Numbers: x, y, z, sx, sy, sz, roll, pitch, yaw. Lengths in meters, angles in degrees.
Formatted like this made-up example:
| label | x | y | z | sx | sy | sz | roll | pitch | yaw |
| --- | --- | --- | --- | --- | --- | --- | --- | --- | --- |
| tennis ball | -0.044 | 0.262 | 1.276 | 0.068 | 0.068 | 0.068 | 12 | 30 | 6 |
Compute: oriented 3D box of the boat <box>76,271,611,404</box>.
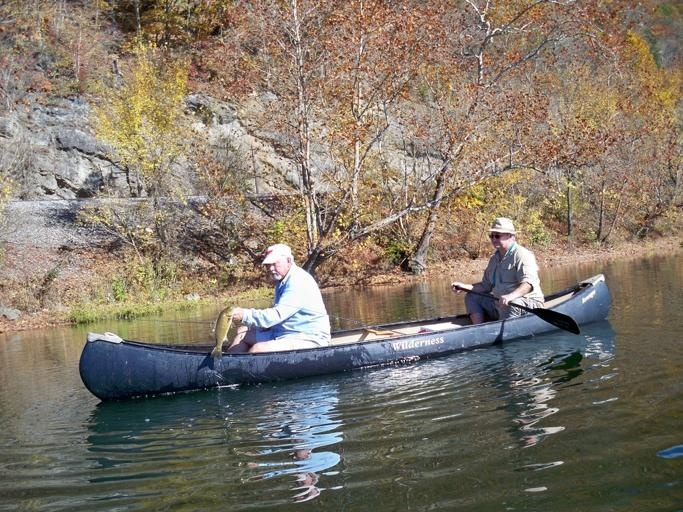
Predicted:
| label | x | y | z | sx | sy | sz | roll | pitch | yaw |
| --- | --- | --- | --- | --- | --- | --- | --- | --- | --- |
| boat | 0.093 | 1.678 | 17.872 | 8.474 | 1.036 | 1.329 | -7 | 9 | -14 |
